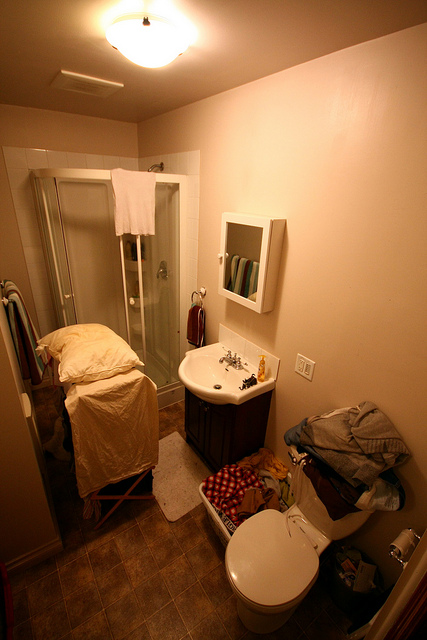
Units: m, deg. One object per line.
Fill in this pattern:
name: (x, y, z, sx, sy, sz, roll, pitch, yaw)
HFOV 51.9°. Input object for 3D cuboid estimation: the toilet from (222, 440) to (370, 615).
toilet: (0.333, 0.832, 1.813, 0.560, 0.481, 0.457, -16, 25, -39)

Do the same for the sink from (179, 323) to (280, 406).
sink: (0.058, 0.300, 2.509, 0.346, 0.296, 0.537, -15, 32, -29)

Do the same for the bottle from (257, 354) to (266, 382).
bottle: (0.270, 0.265, 2.422, 0.043, 0.132, 0.103, 3, 19, 7)

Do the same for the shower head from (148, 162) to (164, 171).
shower head: (-0.428, -1.106, 3.164, 0.090, 0.060, 0.180, -9, 23, -26)

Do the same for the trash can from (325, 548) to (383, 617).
trash can: (0.602, 1.130, 1.976, 0.219, 0.239, 0.252, -13, 27, -31)
